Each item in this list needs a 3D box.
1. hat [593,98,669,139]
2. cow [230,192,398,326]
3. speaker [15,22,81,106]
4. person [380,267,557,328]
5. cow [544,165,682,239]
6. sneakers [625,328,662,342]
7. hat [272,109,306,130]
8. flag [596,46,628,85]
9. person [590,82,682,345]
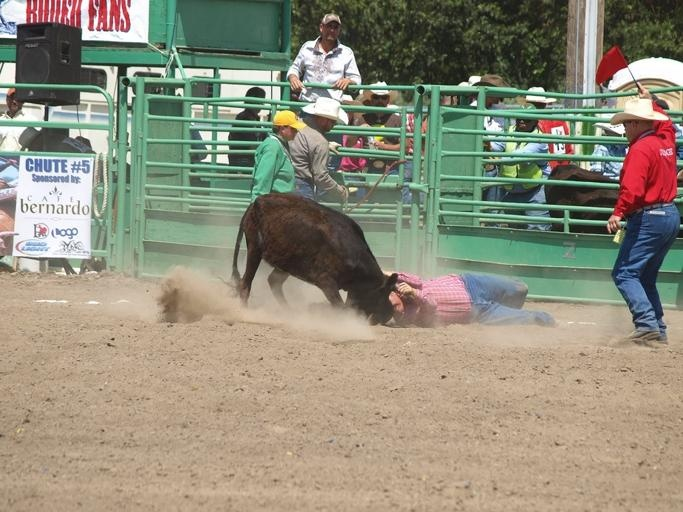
[{"bbox_3d":[2.661,-1.380,10.297,0.863,0.319,0.700,-5,-2,40],"label":"hat"},{"bbox_3d":[-0.309,0.087,10.632,1.845,0.999,0.495,20,33,9],"label":"cow"},{"bbox_3d":[-3.766,-2.481,13.429,0.803,1.040,0.721,0,5,-15],"label":"speaker"},{"bbox_3d":[1.243,0.455,10.530,1.179,0.325,0.732,-2,3,-14],"label":"person"},{"bbox_3d":[3.370,-0.681,12.294,2.125,1.036,0.632,0,1,8],"label":"cow"},{"bbox_3d":[2.875,0.767,10.038,0.344,0.144,0.114,3,8,7],"label":"sneakers"},{"bbox_3d":[-0.581,-1.466,11.227,0.276,0.214,0.396,3,6,21],"label":"hat"},{"bbox_3d":[2.712,-1.960,10.584,0.281,0.402,0.511,2,5,13],"label":"flag"},{"bbox_3d":[2.907,-0.415,10.095,0.649,2.449,0.536,2,5,14],"label":"person"}]
